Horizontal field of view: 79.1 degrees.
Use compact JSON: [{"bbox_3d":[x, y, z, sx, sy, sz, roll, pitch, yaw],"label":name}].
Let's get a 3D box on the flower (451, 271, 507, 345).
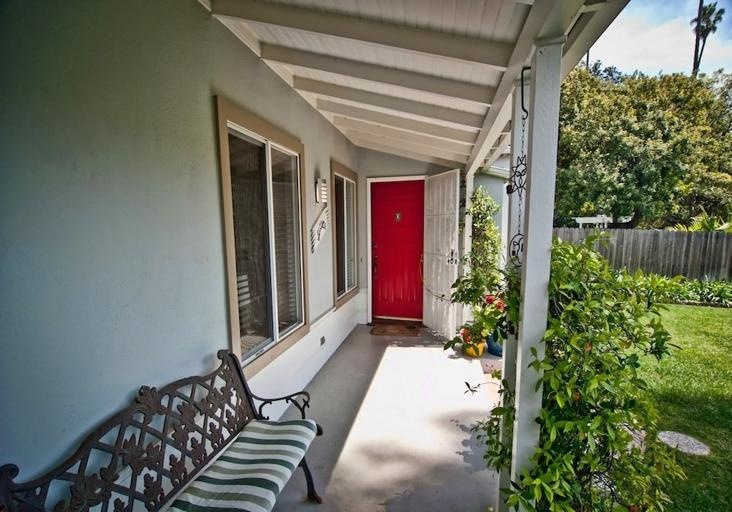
[{"bbox_3d":[0.811,0.363,3.123,0.369,0.530,0.954,0,4,16],"label":"flower"}]
